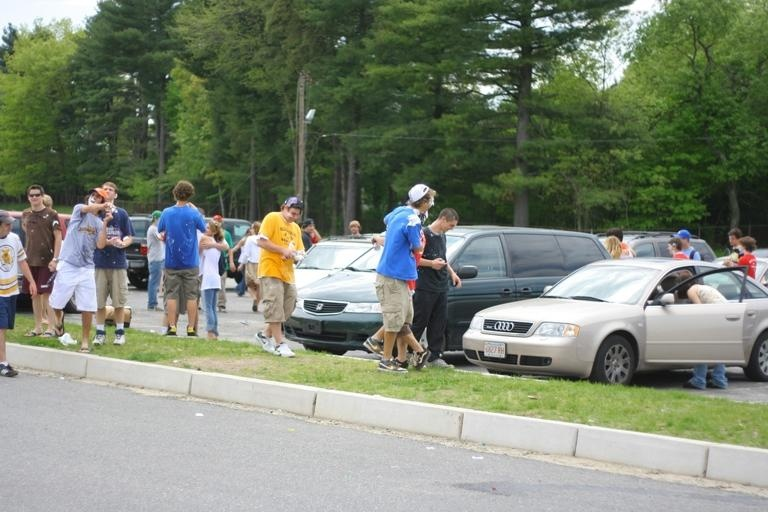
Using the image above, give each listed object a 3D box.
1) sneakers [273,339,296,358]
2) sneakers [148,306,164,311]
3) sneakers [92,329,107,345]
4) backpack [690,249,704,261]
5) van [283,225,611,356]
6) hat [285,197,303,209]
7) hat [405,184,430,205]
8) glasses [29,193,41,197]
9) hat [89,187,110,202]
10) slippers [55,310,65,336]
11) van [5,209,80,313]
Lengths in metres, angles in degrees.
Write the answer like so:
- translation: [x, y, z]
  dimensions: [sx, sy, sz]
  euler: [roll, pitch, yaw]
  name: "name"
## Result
- translation: [-1.881, 1.776, 20.026]
  dimensions: [0.384, 0.269, 0.294]
  euler: [2, -1, -5]
  name: "sneakers"
- translation: [-5.561, 1.300, 25.964]
  dimensions: [0.438, 0.150, 0.153]
  euler: [0, 1, -18]
  name: "sneakers"
- translation: [-5.450, 1.561, 20.272]
  dimensions: [0.207, 0.296, 0.226]
  euler: [2, -1, -18]
  name: "sneakers"
- translation: [7.403, -0.016, 25.241]
  dimensions: [0.145, 0.222, 0.256]
  euler: [-12, 18, -30]
  name: "backpack"
- translation: [1.365, 0.722, 21.821]
  dimensions: [6.064, 1.801, 2.794]
  euler: [-1, -1, -35]
  name: "van"
- translation: [-1.736, -1.016, 20.262]
  dimensions: [0.256, 0.151, 0.314]
  euler: [6, 1, -18]
  name: "hat"
- translation: [0.584, -1.118, 19.097]
  dimensions: [0.442, 0.344, 0.272]
  euler: [1, -1, 25]
  name: "hat"
- translation: [-6.965, -1.225, 21.174]
  dimensions: [0.243, 0.108, 0.240]
  euler: [2, -1, -18]
  name: "glasses"
- translation: [-5.449, -1.171, 20.255]
  dimensions: [0.281, 0.270, 0.344]
  euler: [2, -2, -31]
  name: "hat"
- translation: [-6.397, 1.325, 20.955]
  dimensions: [0.207, 0.520, 0.135]
  euler: [-5, 8, -26]
  name: "slippers"
- translation: [-7.985, 0.015, 23.713]
  dimensions: [1.722, 1.579, 3.320]
  euler: [0, -3, -10]
  name: "van"
